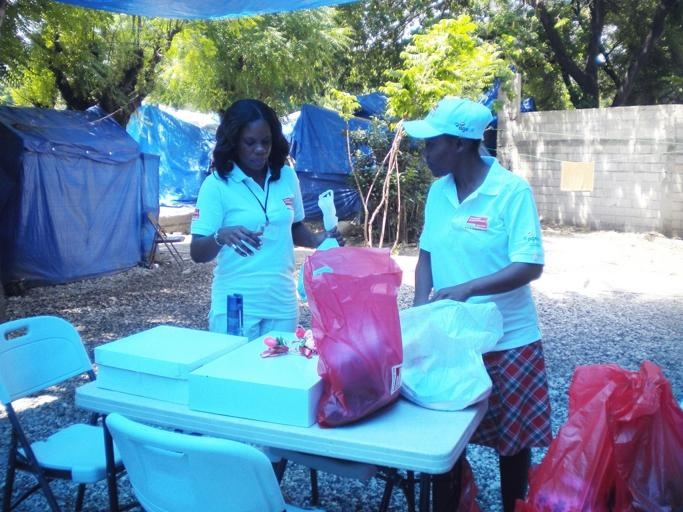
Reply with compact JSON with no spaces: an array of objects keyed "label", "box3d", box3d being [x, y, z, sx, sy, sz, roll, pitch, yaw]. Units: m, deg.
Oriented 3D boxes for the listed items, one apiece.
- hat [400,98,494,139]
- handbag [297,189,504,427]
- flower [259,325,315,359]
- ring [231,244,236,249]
[{"label":"hat","box3d":[0.515,-0.643,2.397,0.318,0.138,0.219,3,25,4]},{"label":"handbag","box3d":[0.275,0.297,2.258,0.578,0.809,0.758,-6,-8,2]},{"label":"flower","box3d":[-0.234,0.391,2.269,0.168,0.068,0.146,-3,3,-41]},{"label":"ring","box3d":[-0.501,-0.046,2.401,0.011,0.022,0.055,-4,5,-32]}]
